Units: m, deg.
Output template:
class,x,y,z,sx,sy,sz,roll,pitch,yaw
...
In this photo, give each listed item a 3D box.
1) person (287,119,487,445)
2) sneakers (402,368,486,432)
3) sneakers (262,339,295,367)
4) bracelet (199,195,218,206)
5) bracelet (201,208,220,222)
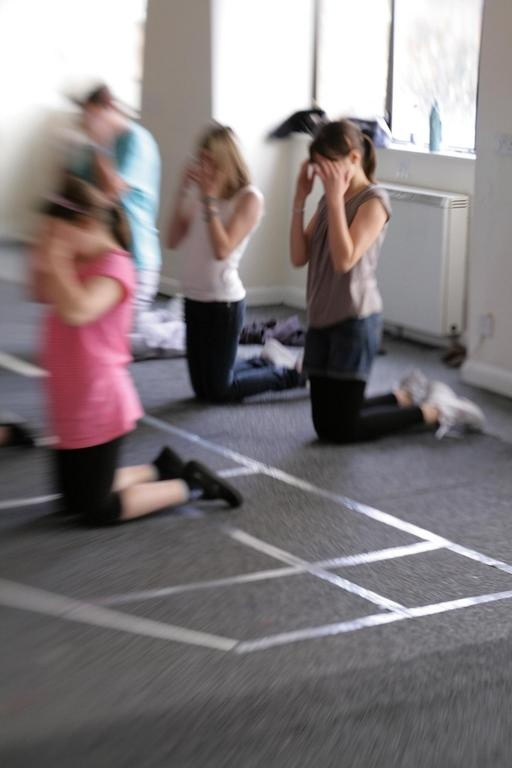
class,x,y,z,sx,sy,sz,roll,pitch,yaw
person,0.378,-0.291,1.737,0.584,0.944,0.352,-2,13,-17
sneakers,0.634,0.076,1.897,0.291,0.141,0.182,27,48,7
sneakers,0.108,-0.118,2.384,0.125,0.046,0.127,10,31,-51
bracelet,-0.163,-0.608,1.797,0.032,0.037,0.008,-12,30,19
bracelet,-0.163,-0.564,1.808,0.030,0.066,0.023,-6,14,15
